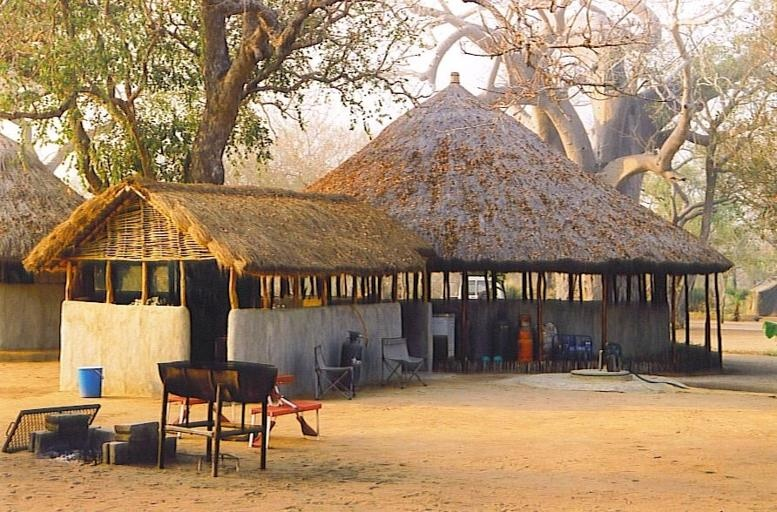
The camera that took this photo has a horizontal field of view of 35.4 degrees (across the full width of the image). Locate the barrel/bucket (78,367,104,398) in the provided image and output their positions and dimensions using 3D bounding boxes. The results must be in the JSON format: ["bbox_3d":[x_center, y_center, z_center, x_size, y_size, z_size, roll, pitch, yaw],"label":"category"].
[{"bbox_3d":[-6.859,2.909,28.059,0.573,0.678,0.587,1,12,0],"label":"barrel/bucket"}]

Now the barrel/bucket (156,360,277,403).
[{"bbox_3d":[-3.212,2.371,23.014,1.518,0.472,1.078,0,-5,19],"label":"barrel/bucket"}]

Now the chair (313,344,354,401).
[{"bbox_3d":[-1.283,2.706,28.501,0.959,1.134,1.267,0,11,-3],"label":"chair"}]
